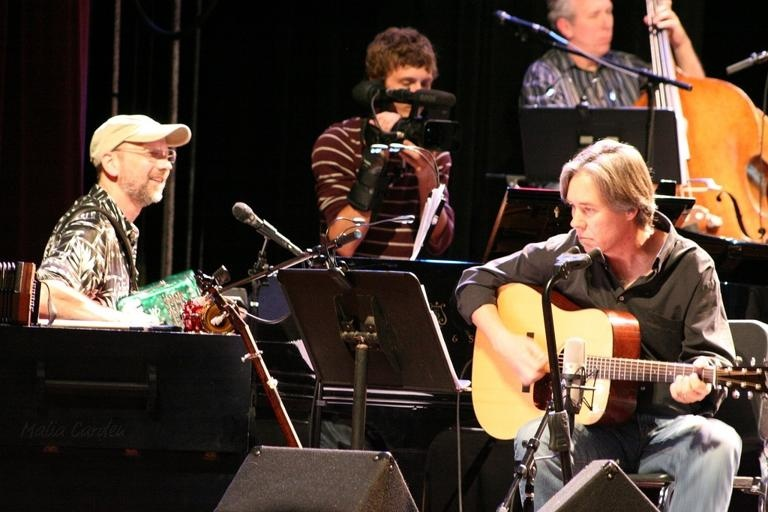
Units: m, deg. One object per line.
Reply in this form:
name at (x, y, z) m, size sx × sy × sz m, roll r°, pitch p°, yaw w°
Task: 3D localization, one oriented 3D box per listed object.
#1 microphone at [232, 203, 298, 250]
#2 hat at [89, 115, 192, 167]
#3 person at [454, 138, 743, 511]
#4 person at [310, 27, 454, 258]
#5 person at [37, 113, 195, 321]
microphone at (-0.778, -0.193, 6.329) m, size 0.456 × 0.080 × 0.082 m, roll 38°, pitch 43°, yaw 0°
hat at (-1.423, -0.699, 5.513) m, size 0.499 × 0.213 × 0.330 m, roll -15°, pitch 0°, yaw 2°
person at (1.097, 0.329, 4.712) m, size 1.304 × 1.817 × 0.579 m, roll 2°, pitch 3°, yaw 21°
person at (-0.015, -0.756, 5.985) m, size 0.925 × 1.529 × 1.061 m, roll 1°, pitch 3°, yaw 3°
person at (-1.462, -0.254, 5.125) m, size 0.690 × 1.101 × 1.176 m, roll 1°, pitch 3°, yaw -6°
